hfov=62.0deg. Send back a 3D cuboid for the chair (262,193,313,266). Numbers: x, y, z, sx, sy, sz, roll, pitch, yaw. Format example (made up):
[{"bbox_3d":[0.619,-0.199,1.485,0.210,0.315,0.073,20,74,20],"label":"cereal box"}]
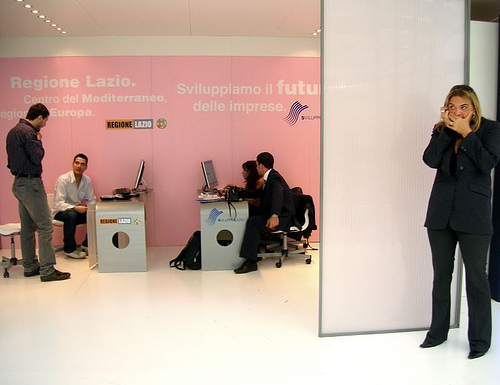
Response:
[{"bbox_3d":[0.520,0.546,6.151,0.641,0.908,0.738,2,3,-16],"label":"chair"}]

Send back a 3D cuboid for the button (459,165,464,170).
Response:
[{"bbox_3d":[1.771,-0.215,3.495,0.037,0.039,0.009,3,-1,5],"label":"button"}]

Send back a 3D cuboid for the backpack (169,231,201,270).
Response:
[{"bbox_3d":[-0.898,0.839,5.758,0.540,0.398,0.215,-19,-38,28],"label":"backpack"}]

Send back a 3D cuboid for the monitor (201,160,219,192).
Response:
[{"bbox_3d":[-0.644,-0.256,6.505,0.213,0.460,0.474,3,9,11],"label":"monitor"}]

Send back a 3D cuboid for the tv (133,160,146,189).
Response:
[{"bbox_3d":[-1.730,-0.303,6.514,0.044,0.252,0.446,18,-1,-8],"label":"tv"}]

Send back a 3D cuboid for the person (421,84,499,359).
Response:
[{"bbox_3d":[1.789,0.242,3.590,0.620,2.286,0.407,4,11,23],"label":"person"}]

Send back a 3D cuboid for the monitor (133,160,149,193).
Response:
[{"bbox_3d":[-1.714,-0.269,6.530,0.249,0.489,0.501,1,1,-14],"label":"monitor"}]

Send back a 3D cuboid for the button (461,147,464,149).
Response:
[{"bbox_3d":[1.764,-0.375,3.466,0.019,0.013,0.004,6,12,30],"label":"button"}]

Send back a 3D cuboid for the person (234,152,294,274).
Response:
[{"bbox_3d":[0.231,0.265,5.825,0.724,1.575,0.951,2,11,14],"label":"person"}]

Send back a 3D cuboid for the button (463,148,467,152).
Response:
[{"bbox_3d":[1.783,-0.353,3.460,0.022,0.024,0.012,2,10,10],"label":"button"}]

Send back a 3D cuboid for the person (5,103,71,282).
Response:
[{"bbox_3d":[-2.699,0.011,5.265,0.614,2.223,0.364,4,11,22],"label":"person"}]
